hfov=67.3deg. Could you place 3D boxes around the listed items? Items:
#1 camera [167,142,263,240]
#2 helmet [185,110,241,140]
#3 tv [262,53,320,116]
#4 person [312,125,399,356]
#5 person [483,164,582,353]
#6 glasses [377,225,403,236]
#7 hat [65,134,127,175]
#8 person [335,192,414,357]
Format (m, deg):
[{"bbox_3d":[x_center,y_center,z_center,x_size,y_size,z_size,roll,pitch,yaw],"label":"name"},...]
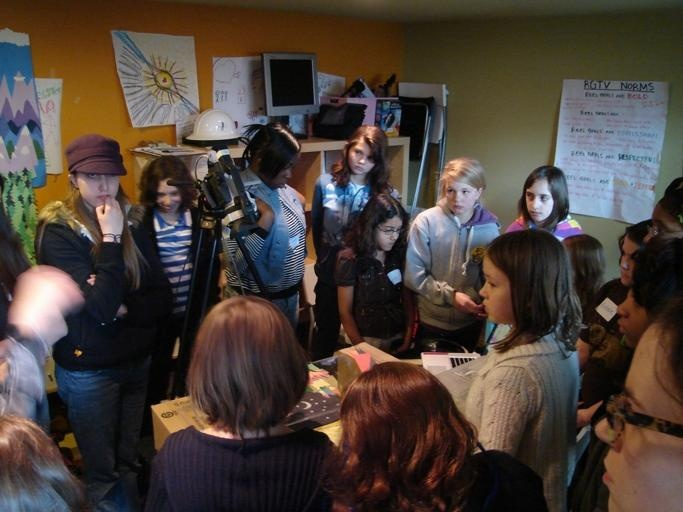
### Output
[{"bbox_3d":[-0.527,-0.241,2.261,0.308,0.484,0.316,-29,6,-11],"label":"camera"},{"bbox_3d":[-0.808,-0.830,3.244,0.351,0.178,0.284,-8,19,-28],"label":"helmet"},{"bbox_3d":[-0.361,-1.198,3.559,0.455,0.433,0.046,-5,9,-36],"label":"tv"},{"bbox_3d":[0.015,0.131,3.229,0.508,1.803,0.494,8,14,5],"label":"person"},{"bbox_3d":[1.207,0.127,3.146,0.454,1.273,0.463,5,18,19],"label":"person"},{"bbox_3d":[0.250,-0.130,2.654,0.077,0.026,0.077,-2,15,-36],"label":"glasses"},{"bbox_3d":[-0.959,-0.389,2.011,0.216,0.117,0.154,10,10,42],"label":"hat"},{"bbox_3d":[0.197,0.112,2.732,0.443,0.859,0.266,-2,15,-10],"label":"person"}]
